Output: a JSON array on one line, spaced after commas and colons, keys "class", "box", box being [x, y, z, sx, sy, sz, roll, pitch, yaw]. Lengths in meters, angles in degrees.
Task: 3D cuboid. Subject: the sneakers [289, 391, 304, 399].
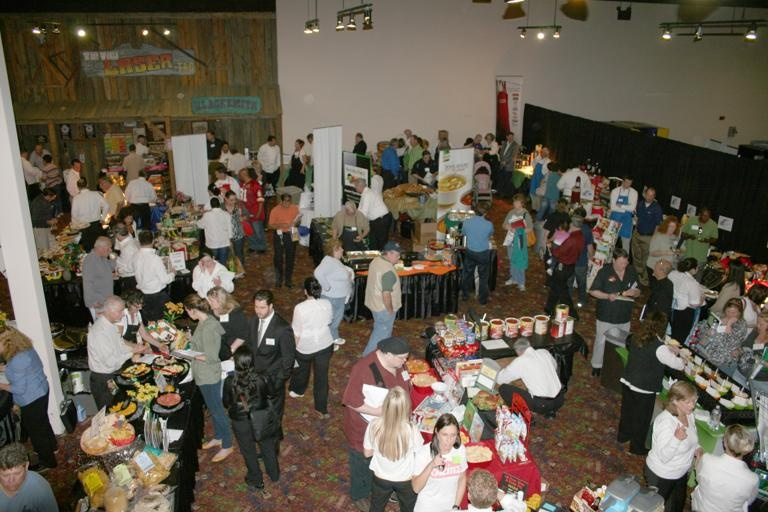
[{"class": "sneakers", "box": [-1.380, 2.207, 8.288, 0.192, 0.129, 0.120, 5, 18, 18]}]

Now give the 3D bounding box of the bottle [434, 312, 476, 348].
[{"class": "bottle", "box": [1.086, 1.125, 7.806, 0.468, 0.167, 0.502, 0, 19, 0]}]

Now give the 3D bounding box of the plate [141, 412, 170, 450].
[{"class": "plate", "box": [-2.689, 2.099, 6.207, 0.133, 0.419, 0.320, -3, 28, -17]}]

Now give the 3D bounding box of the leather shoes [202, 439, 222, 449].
[{"class": "leather shoes", "box": [-2.433, 2.678, 7.435, 0.311, 0.126, 0.114, 4, 9, -21]}]

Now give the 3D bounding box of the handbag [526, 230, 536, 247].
[{"class": "handbag", "box": [3.123, -0.371, 10.980, 0.180, 0.465, 0.456, 0, 3, 17]}]

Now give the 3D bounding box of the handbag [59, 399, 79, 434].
[{"class": "handbag", "box": [-4.607, 2.358, 7.576, 0.139, 0.369, 0.375, -9, 31, -5]}]

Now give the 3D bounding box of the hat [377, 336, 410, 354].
[{"class": "hat", "box": [0.124, 1.045, 6.068, 0.268, 0.105, 0.201, 5, 11, 22]}]

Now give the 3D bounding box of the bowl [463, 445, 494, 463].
[{"class": "bowl", "box": [1.140, 2.347, 6.130, 0.313, 0.119, 0.225, 0, 18, 6]}]

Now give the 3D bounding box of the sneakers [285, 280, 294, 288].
[{"class": "sneakers", "box": [-2.025, 0.627, 11.247, 0.166, 0.163, 0.130, -9, -13, 37]}]

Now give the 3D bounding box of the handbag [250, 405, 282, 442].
[{"class": "handbag", "box": [-1.460, 2.095, 6.549, 0.400, 0.478, 0.143, -18, 24, -41]}]

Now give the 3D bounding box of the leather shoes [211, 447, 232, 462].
[{"class": "leather shoes", "box": [-2.272, 2.787, 7.298, 0.132, 0.109, 0.268, 8, 13, 38]}]

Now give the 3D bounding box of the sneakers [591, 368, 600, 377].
[{"class": "sneakers", "box": [3.577, 1.962, 8.744, 0.120, 0.132, 0.134, 0, 0, 1]}]

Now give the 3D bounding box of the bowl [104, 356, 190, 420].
[{"class": "bowl", "box": [-3.128, 1.754, 6.949, 0.634, 0.244, 0.985, 0, 34, -11]}]

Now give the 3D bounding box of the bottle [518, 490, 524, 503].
[{"class": "bottle", "box": [1.507, 2.643, 5.702, 0.051, 0.152, 0.063, -4, -1, -23]}]

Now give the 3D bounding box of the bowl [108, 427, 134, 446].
[{"class": "bowl", "box": [-3.117, 2.173, 6.180, 0.264, 0.152, 0.172, -2, 18, -1]}]

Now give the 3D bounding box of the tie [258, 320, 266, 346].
[{"class": "tie", "box": [-1.628, 1.008, 6.951, 0.117, 0.306, 0.130, -1, 18, 3]}]

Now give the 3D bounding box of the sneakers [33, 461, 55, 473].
[{"class": "sneakers", "box": [-4.652, 2.881, 7.079, 0.287, 0.123, 0.096, -2, 18, -1]}]

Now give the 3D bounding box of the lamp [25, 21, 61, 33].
[{"class": "lamp", "box": [-9.287, -6.237, 14.096, 0.799, 0.311, 1.120, -8, 18, -17]}]

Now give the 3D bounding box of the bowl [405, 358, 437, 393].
[{"class": "bowl", "box": [0.541, 1.642, 7.268, 0.406, 0.190, 0.720, -1, 17, 2]}]
